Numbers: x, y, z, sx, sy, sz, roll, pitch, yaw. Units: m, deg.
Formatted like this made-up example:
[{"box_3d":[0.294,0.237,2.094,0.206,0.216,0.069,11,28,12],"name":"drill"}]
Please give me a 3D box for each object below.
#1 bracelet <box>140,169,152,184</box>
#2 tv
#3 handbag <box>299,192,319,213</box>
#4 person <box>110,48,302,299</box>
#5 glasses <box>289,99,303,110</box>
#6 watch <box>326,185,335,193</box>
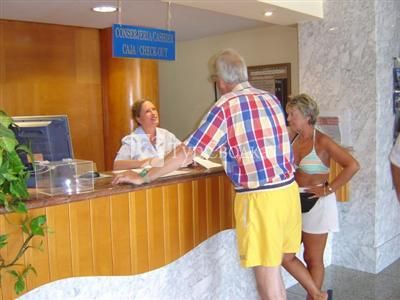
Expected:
[{"box_3d":[-0.370,0.186,2.364,0.069,0.107,0.098,-15,-39,10],"name":"bracelet"},{"box_3d":[-1.158,0.010,2.575,0.580,0.574,0.321,0,2,16],"name":"tv"},{"box_3d":[0.952,0.451,2.946,0.179,0.142,0.097,5,5,-16],"name":"handbag"},{"box_3d":[0.233,0.187,2.354,0.931,1.765,0.423,-1,7,12],"name":"person"},{"box_3d":[0.833,-0.410,2.965,0.081,0.103,0.106,-7,21,-15],"name":"glasses"},{"box_3d":[1.131,0.347,2.956,0.048,0.072,0.072,-33,-20,-5],"name":"watch"}]
